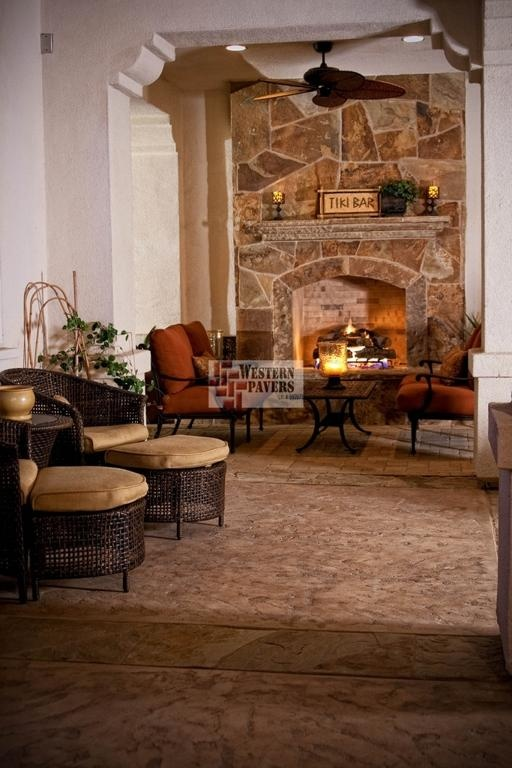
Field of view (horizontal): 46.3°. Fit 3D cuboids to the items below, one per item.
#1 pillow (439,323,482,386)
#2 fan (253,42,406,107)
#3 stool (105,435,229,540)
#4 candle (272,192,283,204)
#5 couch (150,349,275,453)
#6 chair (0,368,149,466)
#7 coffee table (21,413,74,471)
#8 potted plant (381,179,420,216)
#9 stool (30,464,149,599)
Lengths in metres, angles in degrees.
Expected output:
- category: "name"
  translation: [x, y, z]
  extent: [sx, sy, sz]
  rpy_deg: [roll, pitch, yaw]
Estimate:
- category: "pillow"
  translation: [1.731, -0.210, 5.137]
  extent: [0.169, 0.552, 0.561]
  rpy_deg: [17, 46, 2]
- category: "fan"
  translation: [0.754, -2.990, 5.741]
  extent: [0.970, 0.346, 0.950]
  rpy_deg: [-7, 12, -43]
- category: "stool"
  translation: [-0.427, 0.507, 3.161]
  extent: [0.496, 0.420, 0.631]
  rpy_deg: [1, 1, 30]
- category: "candle"
  translation: [0.239, -2.022, 6.507]
  extent: [0.123, 0.100, 0.110]
  rpy_deg: [-1, -1, -1]
- category: "couch"
  translation: [-0.396, 0.064, 5.461]
  extent: [0.831, 0.955, 1.007]
  rpy_deg: [0, 2, 6]
- category: "chair"
  translation: [-1.027, 0.152, 3.498]
  extent: [0.644, 0.542, 0.566]
  rpy_deg: [2, 4, 28]
- category: "coffee table"
  translation: [-0.937, 0.255, 2.703]
  extent: [0.227, 0.193, 0.227]
  rpy_deg: [1, 4, 0]
- category: "potted plant"
  translation: [1.455, -1.925, 6.368]
  extent: [0.473, 0.472, 0.343]
  rpy_deg: [0, 9, 0]
- category: "stool"
  translation: [-0.718, 0.572, 2.508]
  extent: [0.505, 0.396, 0.671]
  rpy_deg: [1, 1, -20]
